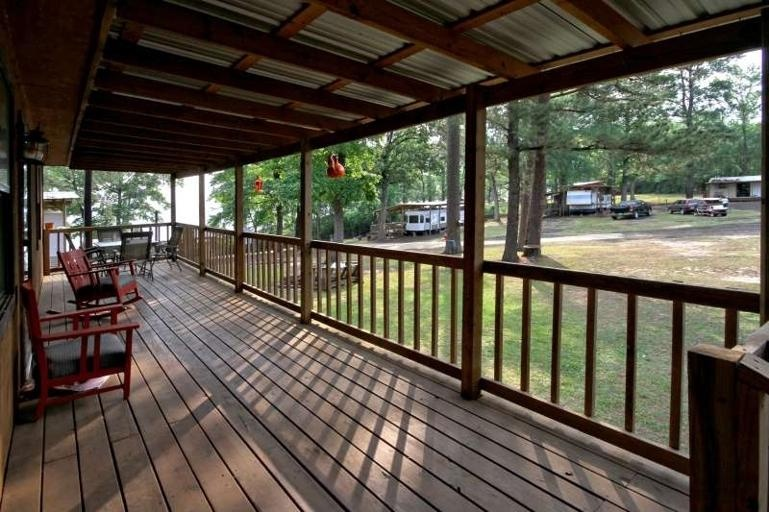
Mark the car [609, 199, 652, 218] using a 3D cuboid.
[{"bbox_3d":[14.314,-2.682,30.054,2.669,0.768,1.101,-9,11,-38],"label":"car"}]

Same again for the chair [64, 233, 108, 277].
[{"bbox_3d":[-4.759,0.006,8.439,0.339,0.276,0.296,-26,-15,-14],"label":"chair"}]

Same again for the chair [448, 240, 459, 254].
[{"bbox_3d":[2.231,-0.277,16.822,0.424,0.472,0.438,2,3,13],"label":"chair"}]

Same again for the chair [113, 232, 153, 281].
[{"bbox_3d":[-5.410,0.021,11.174,0.798,0.990,0.851,-9,6,-21],"label":"chair"}]

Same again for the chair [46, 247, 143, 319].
[{"bbox_3d":[-3.445,0.293,6.354,0.777,0.694,0.582,1,10,-4],"label":"chair"}]

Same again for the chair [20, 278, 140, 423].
[{"bbox_3d":[-2.605,0.742,4.430,0.918,0.934,0.839,2,7,-13],"label":"chair"}]
